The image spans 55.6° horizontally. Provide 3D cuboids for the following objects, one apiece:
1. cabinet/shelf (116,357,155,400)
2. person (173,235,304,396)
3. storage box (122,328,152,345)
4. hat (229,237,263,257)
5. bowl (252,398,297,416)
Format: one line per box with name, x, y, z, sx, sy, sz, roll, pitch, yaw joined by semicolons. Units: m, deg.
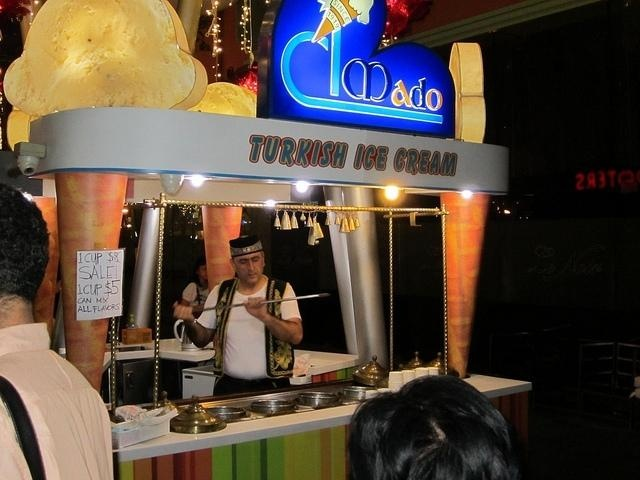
cabinet/shelf;-1.740;1.342;5.743;0.343;0.411;0.142;2;-1;-30
person;-0.513;0.507;4.138;0.775;1.074;0.778;1;-1;-3
storage box;-1.930;1.014;6.427;0.293;0.105;0.178;2;-1;-24
hat;-0.505;0.031;4.272;0.146;0.099;0.157;-7;5;22
bowl;-0.268;0.971;3.541;0.278;0.053;0.243;1;0;-6
